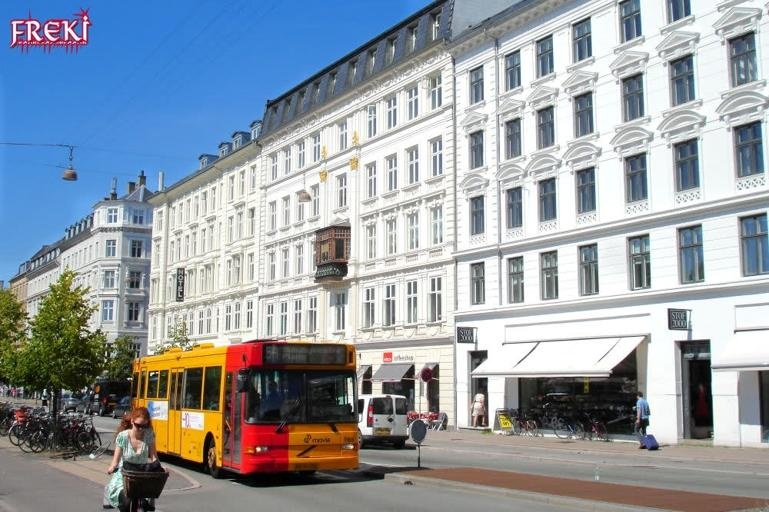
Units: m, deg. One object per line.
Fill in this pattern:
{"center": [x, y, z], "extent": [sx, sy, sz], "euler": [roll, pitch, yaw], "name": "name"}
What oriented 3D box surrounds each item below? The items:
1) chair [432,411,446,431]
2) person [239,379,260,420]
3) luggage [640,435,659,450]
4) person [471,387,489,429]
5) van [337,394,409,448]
{"center": [3.096, 9.407, 48.674], "extent": [0.994, 1.068, 0.653], "euler": [3, -4, -38], "name": "chair"}
{"center": [-4.280, 4.659, 27.766], "extent": [0.520, 1.297, 0.203], "euler": [3, -17, -10], "name": "person"}
{"center": [11.330, 8.006, 36.972], "extent": [0.331, 0.611, 0.383], "euler": [4, -41, -38], "name": "luggage"}
{"center": [5.034, 8.242, 47.145], "extent": [1.086, 2.159, 0.937], "euler": [-13, -21, 37], "name": "person"}
{"center": [-0.375, 7.702, 40.393], "extent": [2.247, 1.991, 3.590], "euler": [2, -7, -16], "name": "van"}
